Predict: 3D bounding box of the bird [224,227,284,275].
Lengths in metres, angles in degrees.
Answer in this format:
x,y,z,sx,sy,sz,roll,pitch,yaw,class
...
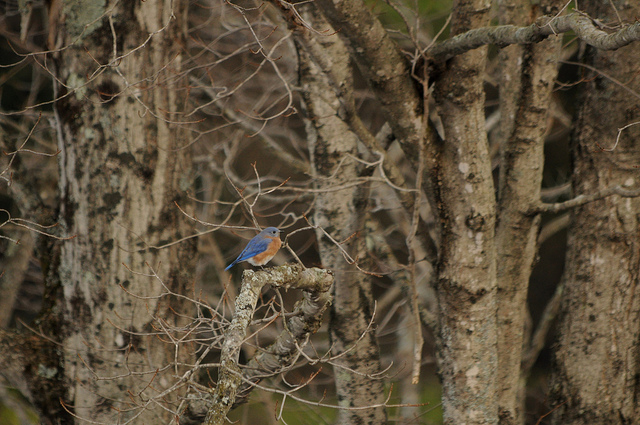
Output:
x,y,z,sx,sy,sz,roll,pitch,yaw,class
-0.902,0.503,23.563,0.676,0.600,0.419,-1,-4,-3,bird
